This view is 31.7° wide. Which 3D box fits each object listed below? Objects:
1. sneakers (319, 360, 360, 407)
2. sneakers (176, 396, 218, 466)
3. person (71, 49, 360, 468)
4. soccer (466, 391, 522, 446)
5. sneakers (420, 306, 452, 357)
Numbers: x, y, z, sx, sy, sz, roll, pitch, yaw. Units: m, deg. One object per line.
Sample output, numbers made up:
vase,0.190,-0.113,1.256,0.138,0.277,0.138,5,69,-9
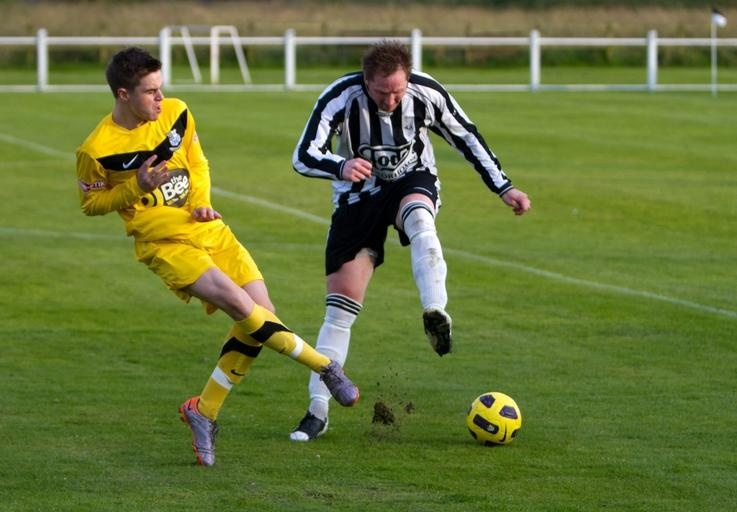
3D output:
sneakers,-0.187,0.879,8.744,0.177,0.152,0.405,38,9,-49
sneakers,-1.143,1.167,8.694,0.245,0.492,0.170,-24,-6,14
person,-1.157,-0.046,8.745,1.406,2.719,0.814,5,14,35
soccer,0.853,1.112,8.855,0.363,0.304,0.242,-1,11,5
sneakers,0.457,0.517,8.733,0.177,0.371,0.236,-2,11,1
